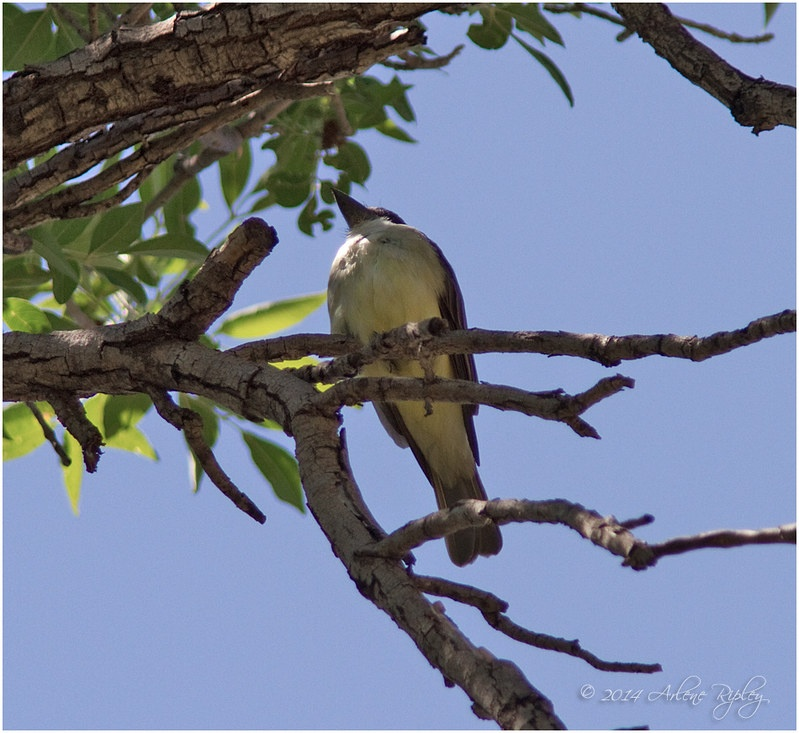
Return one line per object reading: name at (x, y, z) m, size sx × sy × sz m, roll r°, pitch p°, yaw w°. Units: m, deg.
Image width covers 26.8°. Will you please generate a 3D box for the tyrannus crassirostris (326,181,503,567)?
tyrannus crassirostris at (0.039, -0.153, 8.536) m, size 0.689 × 0.894 × 2.192 m, roll -14°, pitch -76°, yaw 6°
